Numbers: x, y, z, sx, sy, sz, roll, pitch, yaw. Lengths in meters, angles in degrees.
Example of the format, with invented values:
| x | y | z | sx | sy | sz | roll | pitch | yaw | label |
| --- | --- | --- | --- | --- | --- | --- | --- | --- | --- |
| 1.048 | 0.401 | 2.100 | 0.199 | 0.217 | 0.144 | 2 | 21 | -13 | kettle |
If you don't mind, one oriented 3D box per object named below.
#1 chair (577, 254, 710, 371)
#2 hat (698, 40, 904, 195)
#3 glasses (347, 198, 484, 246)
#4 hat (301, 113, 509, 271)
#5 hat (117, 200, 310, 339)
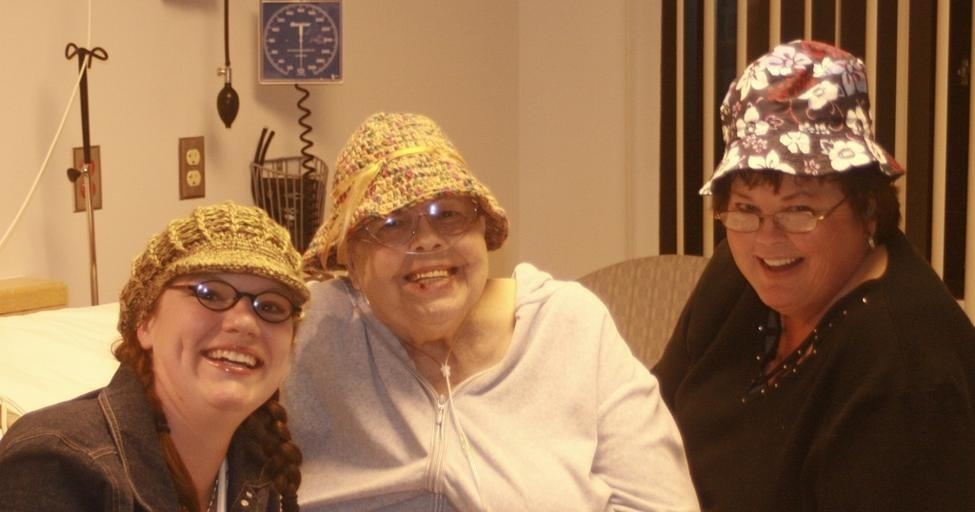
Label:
| x | y | z | sx | sy | sz | roll | pitch | yaw | label |
| --- | --- | --- | --- | --- | --- | --- | --- | --- | --- |
| 0.627 | 0.286 | 4.133 | 0.452 | 0.613 | 0.491 | 0 | -7 | -40 | chair |
| 1.035 | -0.542 | 3.417 | 0.665 | 0.456 | 0.667 | 3 | 16 | 31 | hat |
| -0.226 | -0.110 | 3.209 | 0.392 | 0.164 | 0.090 | -3 | 5 | -9 | glasses |
| -0.311 | -0.269 | 3.218 | 0.542 | 0.363 | 0.578 | -15 | -5 | -16 | hat |
| -0.876 | 0.052 | 3.279 | 0.560 | 0.249 | 0.663 | -6 | -20 | -9 | hat |
